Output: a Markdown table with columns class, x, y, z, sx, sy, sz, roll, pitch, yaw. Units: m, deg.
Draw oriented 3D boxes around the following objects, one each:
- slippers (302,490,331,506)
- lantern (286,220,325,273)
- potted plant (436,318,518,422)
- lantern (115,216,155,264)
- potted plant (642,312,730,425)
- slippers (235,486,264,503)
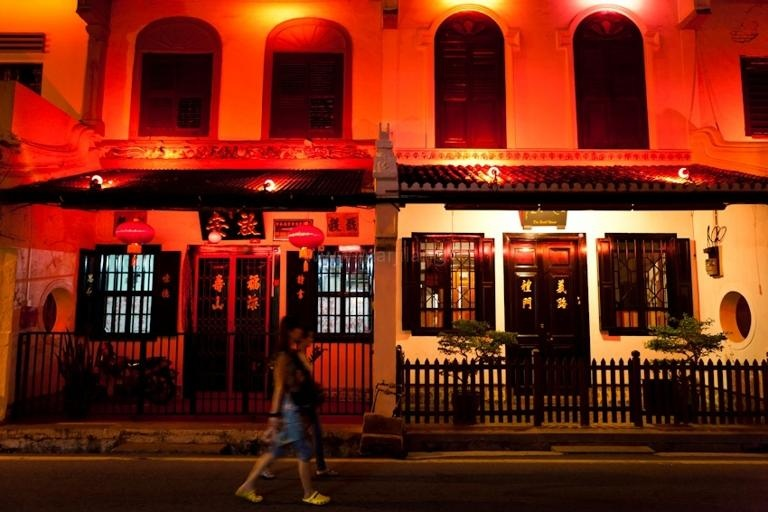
| class | x | y | z | sx | sy | sz | roll | pitch | yaw |
| --- | --- | --- | --- | --- | --- | --- | --- | --- | --- |
| slippers | -1.280 | 4.636 | 15.195 | 0.410 | 0.165 | 0.251 | 0 | -6 | -2 |
| lantern | -1.852 | -0.389 | 19.291 | 0.926 | 1.191 | 0.899 | 0 | -8 | -1 |
| potted plant | 2.184 | 2.668 | 18.427 | 1.542 | 2.380 | 1.446 | -2 | -4 | -1 |
| lantern | -5.998 | -0.360 | 19.220 | 1.153 | 1.169 | 1.146 | -3 | -3 | 21 |
| potted plant | 7.001 | 2.542 | 18.817 | 2.351 | 2.913 | 2.228 | 1 | -9 | 4 |
| slippers | -2.578 | 4.594 | 15.293 | 0.473 | 0.205 | 0.250 | 17 | -4 | -13 |
